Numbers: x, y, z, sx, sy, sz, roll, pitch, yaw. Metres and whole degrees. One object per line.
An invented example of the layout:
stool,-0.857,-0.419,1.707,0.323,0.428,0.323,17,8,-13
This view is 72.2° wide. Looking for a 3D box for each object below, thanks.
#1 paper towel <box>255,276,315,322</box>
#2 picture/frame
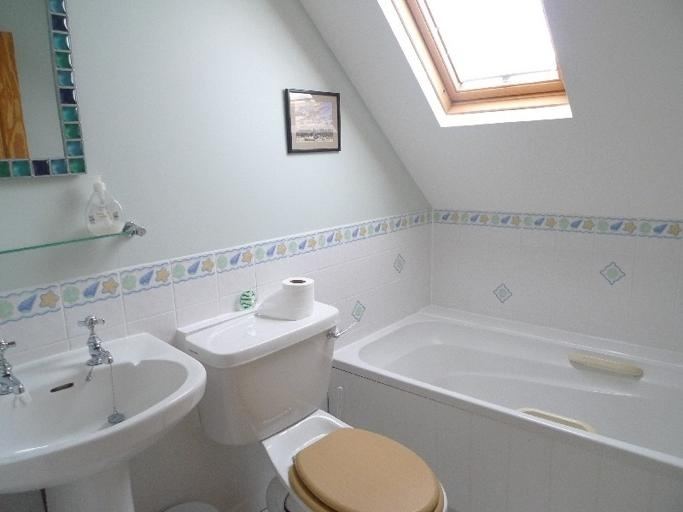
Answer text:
paper towel,-0.262,0.186,2.168,0.232,0.166,0.159,6,13,16
picture/frame,-0.144,-0.689,2.412,0.052,0.307,0.378,8,16,42
